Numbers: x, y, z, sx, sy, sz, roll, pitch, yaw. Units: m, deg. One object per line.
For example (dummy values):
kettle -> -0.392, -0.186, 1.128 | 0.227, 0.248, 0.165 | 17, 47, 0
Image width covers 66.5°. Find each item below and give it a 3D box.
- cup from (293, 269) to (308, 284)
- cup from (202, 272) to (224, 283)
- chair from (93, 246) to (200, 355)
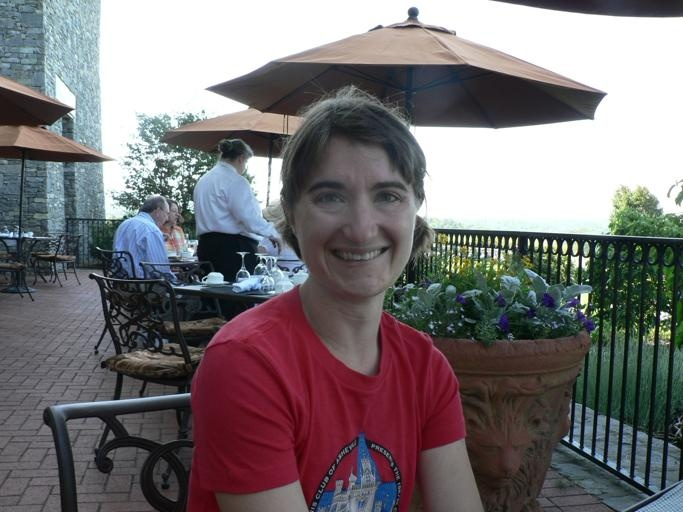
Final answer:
cup -> -0.312, 0.149, 3.977 | 0.120, 0.125, 0.066 | 0, -1, -31
cup -> -1.168, 0.189, 4.734 | 0.158, 0.099, 0.106 | -1, -1, 21
chair -> -1.685, 0.676, 5.280 | 0.940, 1.351, 1.007 | 3, -11, 0
